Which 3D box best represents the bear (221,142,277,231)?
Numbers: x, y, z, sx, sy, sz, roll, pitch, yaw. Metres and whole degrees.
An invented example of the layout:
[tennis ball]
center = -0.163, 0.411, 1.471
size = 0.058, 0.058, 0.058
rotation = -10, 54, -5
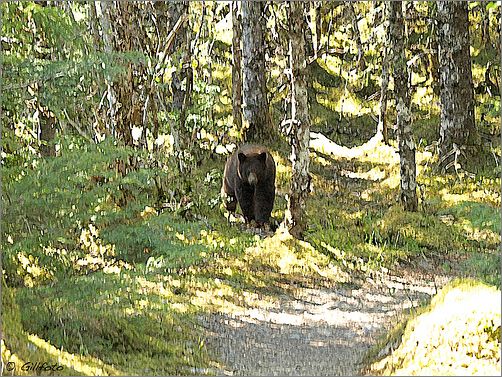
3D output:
[bear]
center = 0.010, -0.026, 20.164
size = 0.967, 1.674, 1.745
rotation = -6, 9, -30
